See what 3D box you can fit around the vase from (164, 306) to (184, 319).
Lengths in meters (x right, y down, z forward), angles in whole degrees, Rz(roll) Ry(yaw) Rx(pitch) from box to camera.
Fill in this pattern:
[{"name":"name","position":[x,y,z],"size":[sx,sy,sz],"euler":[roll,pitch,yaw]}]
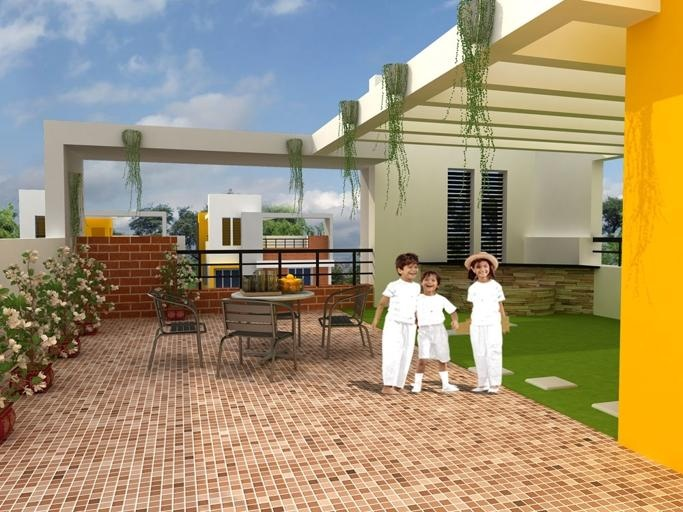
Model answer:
[{"name":"vase","position":[-3.138,1.057,8.893],"size":[0.238,0.249,0.238],"euler":[0,3,-16]}]

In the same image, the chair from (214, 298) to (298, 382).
[{"name":"chair","position":[-1.001,0.919,5.708],"size":[0.711,0.995,0.803],"euler":[2,6,11]}]

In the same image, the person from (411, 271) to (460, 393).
[{"name":"person","position":[1.016,0.786,5.173],"size":[0.500,1.281,0.992],"euler":[-1,2,9]}]

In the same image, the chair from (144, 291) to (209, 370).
[{"name":"chair","position":[-2.115,0.913,6.113],"size":[0.697,0.930,0.610],"euler":[0,2,-18]}]

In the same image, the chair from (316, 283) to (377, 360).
[{"name":"chair","position":[0.028,0.845,6.631],"size":[0.783,0.964,0.823],"euler":[-2,4,-36]}]

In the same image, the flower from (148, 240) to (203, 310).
[{"name":"flower","position":[-3.159,0.363,8.905],"size":[1.057,1.596,0.993],"euler":[2,10,-11]}]

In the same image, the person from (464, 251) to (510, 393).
[{"name":"person","position":[1.528,0.689,5.010],"size":[0.385,1.471,0.447],"euler":[0,2,19]}]

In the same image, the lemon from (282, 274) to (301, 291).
[{"name":"lemon","position":[-0.678,0.345,6.460],"size":[0.207,0.123,0.195],"euler":[-1,-5,3]}]
